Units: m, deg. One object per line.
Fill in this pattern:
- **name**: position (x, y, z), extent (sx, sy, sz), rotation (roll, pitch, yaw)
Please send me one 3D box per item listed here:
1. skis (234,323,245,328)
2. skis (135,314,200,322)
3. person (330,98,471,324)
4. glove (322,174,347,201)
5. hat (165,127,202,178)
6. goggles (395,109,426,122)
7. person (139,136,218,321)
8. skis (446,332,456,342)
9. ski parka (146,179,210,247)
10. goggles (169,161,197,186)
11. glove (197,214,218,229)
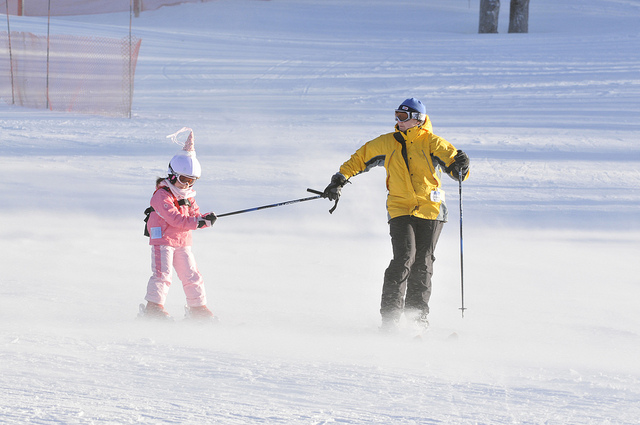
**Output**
- **skis**: position (-0.846, 1.163, 8.685), extent (0.064, 0.010, 0.147), rotation (5, 6, 14)
- **skis**: position (-1.596, 1.081, 8.688), extent (0.590, 0.029, 0.111), rotation (1, 6, -20)
- **person**: position (0.900, -0.027, 8.938), extent (1.222, 2.327, 0.609), rotation (5, 7, 5)
- **glove**: position (0.176, -0.270, 9.096), extent (0.251, 0.288, 0.125), rotation (41, -18, -32)
- **hat**: position (-1.437, -0.653, 9.014), extent (0.467, 0.485, 0.374), rotation (11, 7, -10)
- **goggles**: position (0.961, -1.029, 9.032), extent (0.236, 0.069, 0.167), rotation (3, 5, -13)
- **person**: position (-1.472, 0.161, 8.799), extent (0.705, 1.846, 0.576), rotation (3, 7, -13)
- **skis**: position (1.317, 1.267, 8.506), extent (0.056, 0.052, 0.051), rotation (28, -34, -11)
- **ski parka**: position (-1.519, 0.013, 8.860), extent (0.597, 0.699, 0.332), rotation (3, 7, -10)
- **goggles**: position (-1.481, -0.409, 8.975), extent (0.211, 0.094, 0.254), rotation (20, 6, -40)
- **glove**: position (-1.190, 0.086, 8.808), extent (0.199, 0.154, 0.194), rotation (3, 6, -7)
